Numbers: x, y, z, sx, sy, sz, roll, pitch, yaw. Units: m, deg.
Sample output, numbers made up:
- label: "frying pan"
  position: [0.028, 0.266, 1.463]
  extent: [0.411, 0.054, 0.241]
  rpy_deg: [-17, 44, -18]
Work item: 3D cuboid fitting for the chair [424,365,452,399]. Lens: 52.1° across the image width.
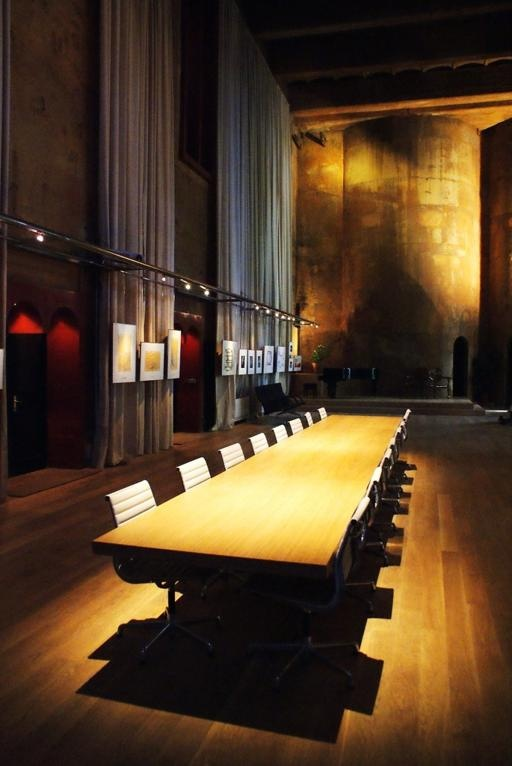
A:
- label: "chair"
  position: [6.384, 0.012, 18.479]
  extent: [0.872, 1.604, 1.025]
  rpy_deg: [0, -3, 3]
